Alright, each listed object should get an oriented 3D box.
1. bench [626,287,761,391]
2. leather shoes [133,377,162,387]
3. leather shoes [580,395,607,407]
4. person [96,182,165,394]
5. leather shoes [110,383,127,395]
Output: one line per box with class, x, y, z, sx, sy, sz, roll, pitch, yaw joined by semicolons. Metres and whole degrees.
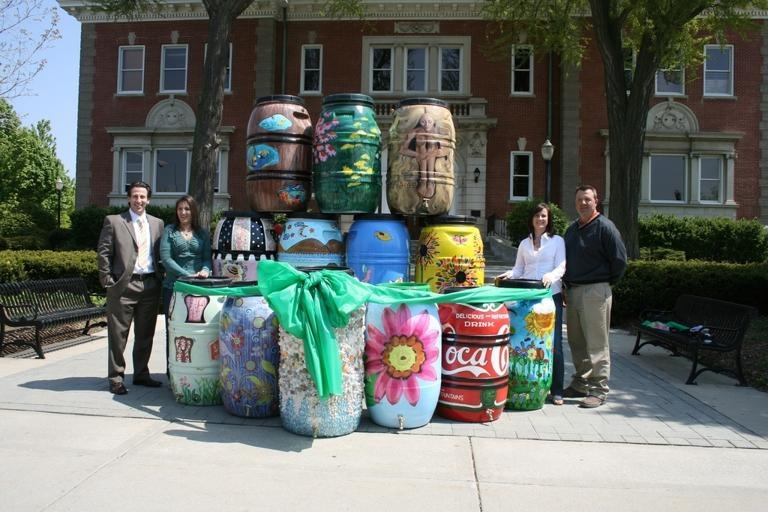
bench;6.832;1.813;18.888;1.415;1.623;3.323;1;3;-5
leather shoes;-4.739;2.473;16.932;0.586;0.225;0.220;0;1;-4
leather shoes;4.170;2.818;16.524;0.566;0.214;0.171;0;2;-26
person;-5.009;0.615;16.646;1.228;4.101;0.438;0;2;-20
leather shoes;-5.209;2.566;16.500;0.363;0.162;0.160;-2;-2;35
